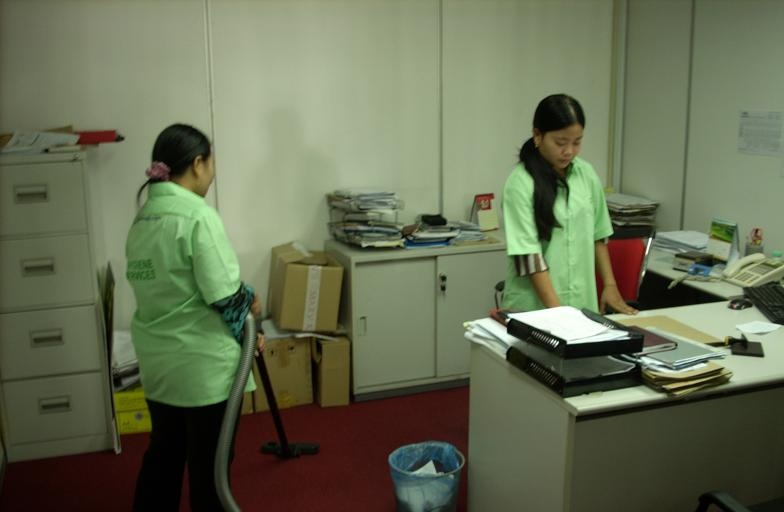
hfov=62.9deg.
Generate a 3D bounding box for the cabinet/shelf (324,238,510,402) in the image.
[{"bbox_3d":[0.121,0.423,4.445,1.114,0.897,0.492,-3,10,-17],"label":"cabinet/shelf"}]

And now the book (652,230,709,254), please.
[{"bbox_3d":[2.106,-0.101,4.569,0.215,0.064,0.212,-5,13,-19],"label":"book"}]

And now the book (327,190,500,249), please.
[{"bbox_3d":[0.054,-0.242,4.735,0.761,0.244,0.574,-2,9,-15],"label":"book"}]
